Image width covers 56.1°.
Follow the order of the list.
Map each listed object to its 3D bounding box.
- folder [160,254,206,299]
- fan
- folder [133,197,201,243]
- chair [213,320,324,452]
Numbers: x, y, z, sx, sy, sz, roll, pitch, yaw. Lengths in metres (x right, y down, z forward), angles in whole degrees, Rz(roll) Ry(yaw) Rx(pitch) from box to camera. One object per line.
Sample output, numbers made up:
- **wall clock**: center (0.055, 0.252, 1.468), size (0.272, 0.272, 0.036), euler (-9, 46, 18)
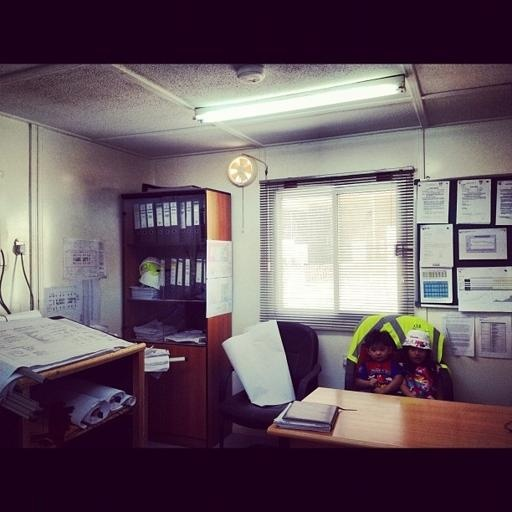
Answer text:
- **folder**: center (-0.537, 0.154, 3.608), size (0.371, 0.287, 0.120), euler (-2, -5, 30)
- **fan**: center (-0.065, -0.509, 3.729), size (0.318, 0.622, 0.157), euler (0, 1, 15)
- **folder**: center (-0.680, -0.294, 3.648), size (0.614, 0.289, 0.556), euler (1, 2, 6)
- **chair**: center (0.088, 0.892, 3.226), size (0.626, 0.768, 0.731), euler (-2, 2, 34)
